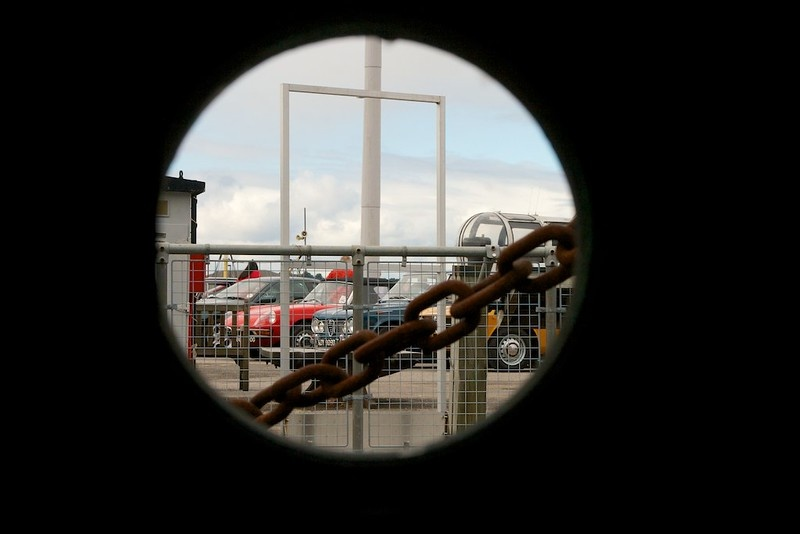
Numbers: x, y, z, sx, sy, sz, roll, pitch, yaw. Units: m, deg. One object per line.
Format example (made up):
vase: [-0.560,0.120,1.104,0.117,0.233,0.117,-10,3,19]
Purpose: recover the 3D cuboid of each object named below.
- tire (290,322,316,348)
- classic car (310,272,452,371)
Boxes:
tire: [-0.510,0.338,5.804,0.127,0.133,0.039,6,10,17]
classic car: [-0.068,0.274,5.687,0.721,0.526,0.738,0,3,-21]
